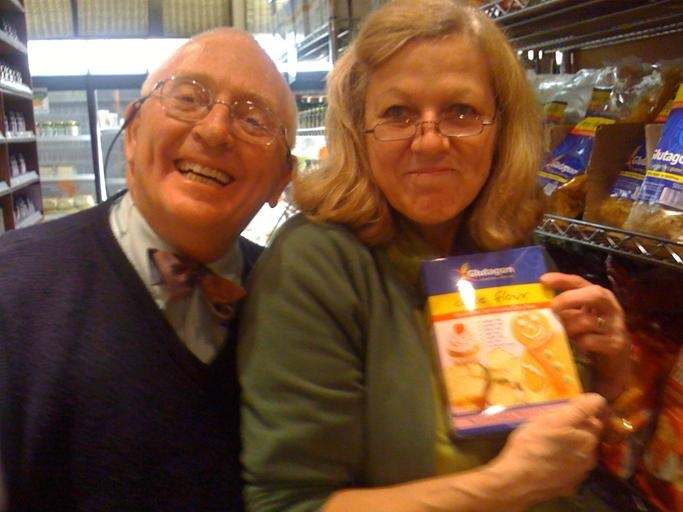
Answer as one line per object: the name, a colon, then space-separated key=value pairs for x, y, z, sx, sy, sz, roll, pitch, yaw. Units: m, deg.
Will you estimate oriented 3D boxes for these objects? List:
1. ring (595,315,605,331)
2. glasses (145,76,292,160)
ring: x=0.527 y=0.135 z=1.038 sx=0.018 sy=0.026 sz=0.036 roll=7 pitch=15 yaw=27
glasses: x=-0.320 y=-0.385 z=1.332 sx=0.221 sy=0.071 sz=0.223 roll=21 pitch=-14 yaw=-15
